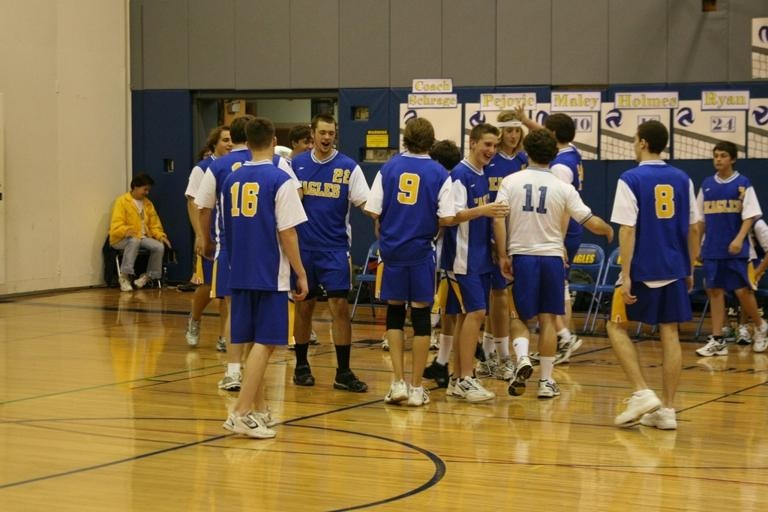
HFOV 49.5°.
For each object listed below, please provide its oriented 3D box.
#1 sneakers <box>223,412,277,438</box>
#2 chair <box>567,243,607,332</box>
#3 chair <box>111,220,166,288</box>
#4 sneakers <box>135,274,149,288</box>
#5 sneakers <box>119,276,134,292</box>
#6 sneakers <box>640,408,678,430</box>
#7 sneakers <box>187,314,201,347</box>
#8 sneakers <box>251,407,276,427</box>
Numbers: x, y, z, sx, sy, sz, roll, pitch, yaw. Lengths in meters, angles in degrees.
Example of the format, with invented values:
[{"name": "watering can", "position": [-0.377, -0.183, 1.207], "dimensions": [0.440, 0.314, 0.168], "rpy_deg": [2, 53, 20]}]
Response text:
[{"name": "sneakers", "position": [-1.210, 1.496, 7.608], "dimensions": [0.503, 0.268, 0.212], "rpy_deg": [14, 0, -10]}, {"name": "chair", "position": [2.926, 0.420, 12.348], "dimensions": [0.712, 1.163, 0.891], "rpy_deg": [5, 2, 27]}, {"name": "chair", "position": [-4.438, 0.117, 15.190], "dimensions": [0.835, 1.226, 0.885], "rpy_deg": [4, -9, -37]}, {"name": "sneakers", "position": [-4.472, 0.441, 15.338], "dimensions": [0.154, 0.177, 0.356], "rpy_deg": [-39, 9, 18]}, {"name": "sneakers", "position": [-4.683, 0.478, 15.117], "dimensions": [0.225, 0.267, 0.276], "rpy_deg": [-3, 9, -20]}, {"name": "sneakers", "position": [2.607, 1.510, 7.906], "dimensions": [0.149, 0.183, 0.347], "rpy_deg": [0, 4, -37]}, {"name": "sneakers", "position": [-2.417, 0.963, 10.528], "dimensions": [0.143, 0.485, 0.183], "rpy_deg": [1, -8, -29]}, {"name": "sneakers", "position": [-1.099, 1.468, 7.696], "dimensions": [0.087, 0.112, 0.244], "rpy_deg": [16, -12, 41]}]
